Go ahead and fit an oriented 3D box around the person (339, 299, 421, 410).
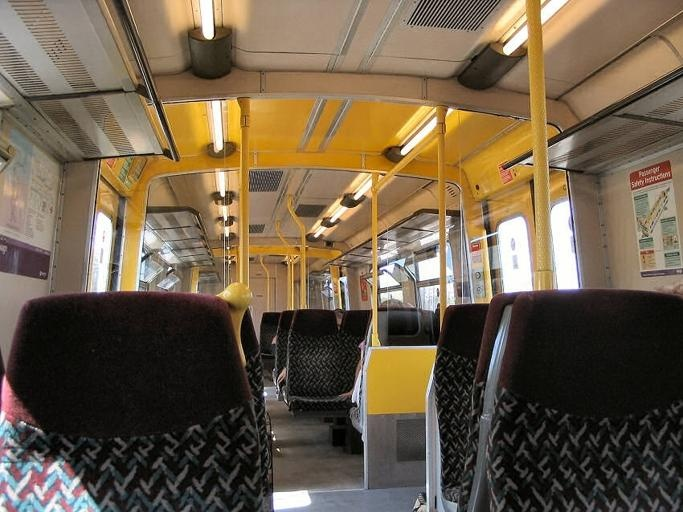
[{"bbox_3d":[0.433,0.830,4.106,0.624,0.718,0.954,1,-6,-4],"label":"person"}]
